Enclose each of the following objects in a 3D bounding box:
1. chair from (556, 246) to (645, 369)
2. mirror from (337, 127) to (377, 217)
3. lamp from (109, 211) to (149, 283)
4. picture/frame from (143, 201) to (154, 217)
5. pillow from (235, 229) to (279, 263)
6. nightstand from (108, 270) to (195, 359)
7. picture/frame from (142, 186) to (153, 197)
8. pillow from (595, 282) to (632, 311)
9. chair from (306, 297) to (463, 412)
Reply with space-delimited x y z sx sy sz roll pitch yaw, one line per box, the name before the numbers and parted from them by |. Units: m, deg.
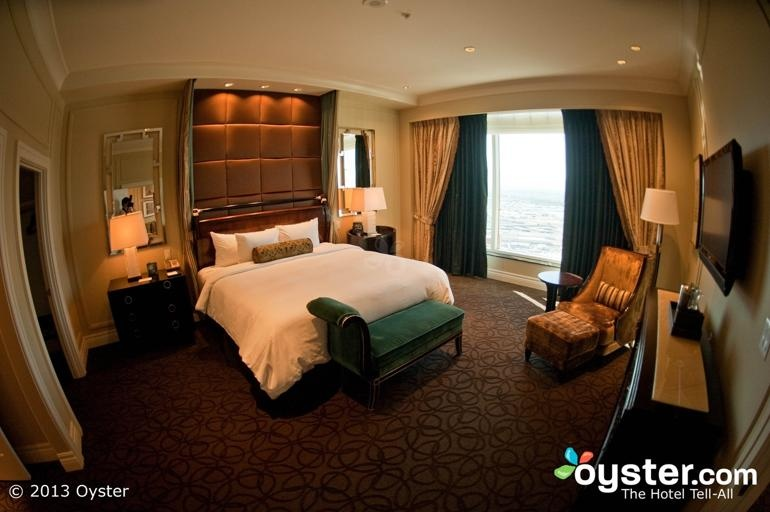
chair | 2.617 0.579 5.574 0.902 1.130 0.688 -15 24 -28
mirror | -0.599 -1.375 7.620 0.718 1.326 0.063 10 21 42
lamp | -3.143 -0.123 5.704 0.406 0.783 0.388 -11 15 -30
picture/frame | -3.023 -0.603 5.912 0.178 0.229 0.032 -12 21 -42
pillow | -1.725 -0.169 6.284 0.225 0.434 0.682 31 33 34
nightstand | -2.981 0.716 5.848 0.867 0.874 0.641 -14 17 -37
picture/frame | -3.007 -0.805 5.928 0.120 0.166 0.164 -1 6 7
pillow | 2.759 0.506 5.584 0.081 0.192 0.297 15 6 -31
chair | 0.099 0.898 5.200 1.719 0.986 0.946 -13 14 -36
